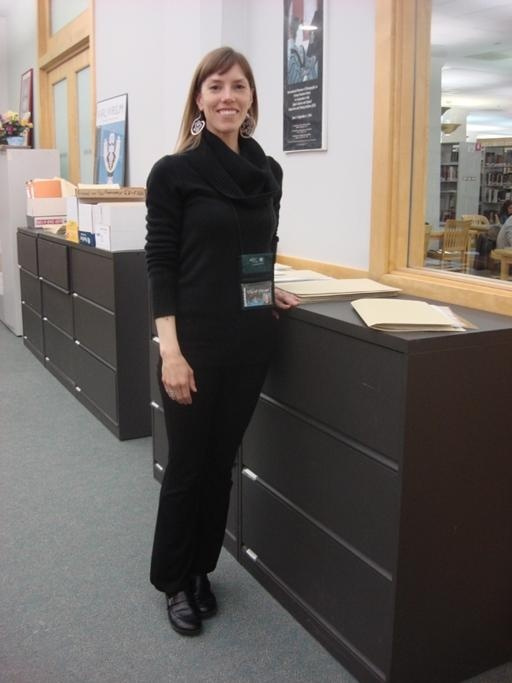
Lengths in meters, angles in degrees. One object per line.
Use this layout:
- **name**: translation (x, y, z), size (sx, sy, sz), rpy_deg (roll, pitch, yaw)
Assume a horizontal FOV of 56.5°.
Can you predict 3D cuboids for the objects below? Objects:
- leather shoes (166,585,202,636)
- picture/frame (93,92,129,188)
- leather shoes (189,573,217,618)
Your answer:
- **leather shoes**: translation (-0.232, 0.794, 1.421), size (0.077, 0.077, 0.193), rpy_deg (17, -6, -28)
- **picture/frame**: translation (-1.300, -1.778, 4.265), size (0.066, 0.821, 0.893), rpy_deg (-4, 8, -35)
- **leather shoes**: translation (-0.176, 0.773, 1.495), size (0.058, 0.078, 0.179), rpy_deg (-1, 25, -17)
